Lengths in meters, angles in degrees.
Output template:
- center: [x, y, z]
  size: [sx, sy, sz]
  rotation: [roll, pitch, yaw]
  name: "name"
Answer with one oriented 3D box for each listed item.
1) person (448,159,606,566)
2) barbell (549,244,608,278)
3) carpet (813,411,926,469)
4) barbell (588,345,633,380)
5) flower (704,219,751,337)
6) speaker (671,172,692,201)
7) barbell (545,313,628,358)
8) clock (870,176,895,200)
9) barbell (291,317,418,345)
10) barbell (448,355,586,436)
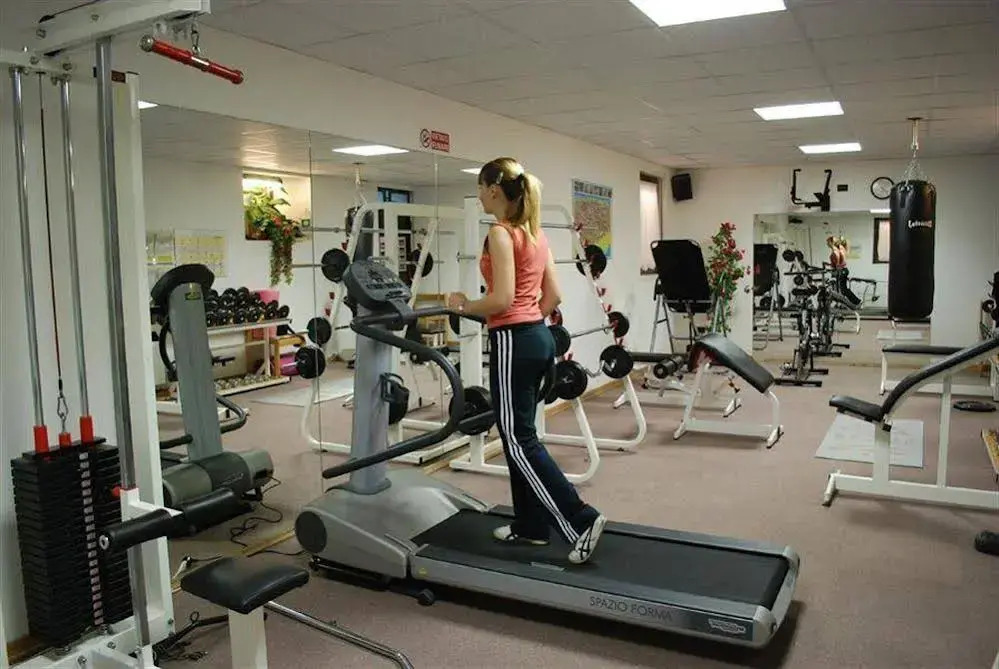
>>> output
- center: [0.200, 0.146, 4.156]
  size: [1.027, 2.095, 0.677]
  rotation: [1, 2, 16]
  name: "person"
- center: [0.756, -0.662, 6.372]
  size: [0.292, 0.288, 0.534]
  rotation: [10, 9, 32]
  name: "barbell"
- center: [3.357, 0.935, 6.275]
  size: [0.795, 0.124, 1.491]
  rotation: [7, 15, 31]
  name: "carpet"
- center: [0.946, 0.241, 5.850]
  size: [0.278, 0.278, 0.080]
  rotation: [23, 28, 35]
  name: "barbell"
- center: [3.339, -0.927, 10.172]
  size: [0.551, 1.396, 0.558]
  rotation: [22, 41, 33]
  name: "flower"
- center: [2.753, -2.213, 10.546]
  size: [0.330, 0.435, 0.209]
  rotation: [4, 14, 18]
  name: "speaker"
- center: [0.672, -0.033, 5.929]
  size: [0.330, 0.431, 1.139]
  rotation: [1, 9, 29]
  name: "barbell"
- center: [5.083, -1.942, 9.327]
  size: [0.235, 0.338, 0.651]
  rotation: [5, 14, 23]
  name: "clock"
- center: [-1.092, -0.046, 5.356]
  size: [0.868, 0.208, 0.421]
  rotation: [4, 7, 13]
  name: "barbell"
- center: [0.239, 0.419, 5.023]
  size: [0.928, 0.582, 0.722]
  rotation: [5, 8, 33]
  name: "barbell"
